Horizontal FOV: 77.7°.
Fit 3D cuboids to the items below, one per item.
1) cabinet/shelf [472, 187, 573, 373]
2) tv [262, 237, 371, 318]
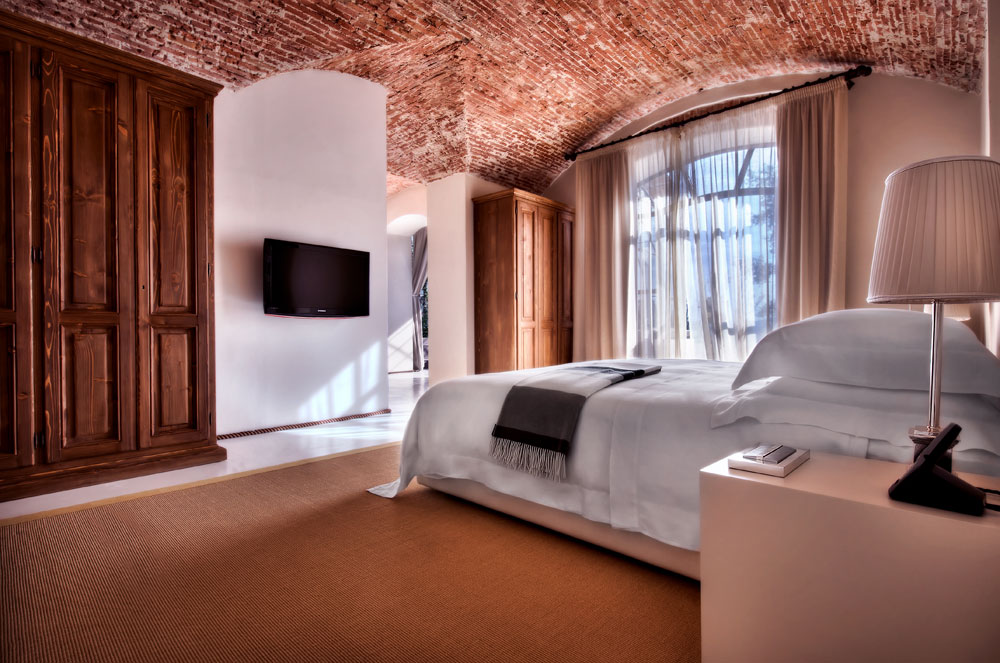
[{"bbox_3d":[0.193,-0.577,7.309,0.781,2.043,1.248,6,10,35],"label":"cabinet/shelf"},{"bbox_3d":[-1.687,-0.486,5.755,0.179,0.716,1.059,7,10,39],"label":"tv"}]
